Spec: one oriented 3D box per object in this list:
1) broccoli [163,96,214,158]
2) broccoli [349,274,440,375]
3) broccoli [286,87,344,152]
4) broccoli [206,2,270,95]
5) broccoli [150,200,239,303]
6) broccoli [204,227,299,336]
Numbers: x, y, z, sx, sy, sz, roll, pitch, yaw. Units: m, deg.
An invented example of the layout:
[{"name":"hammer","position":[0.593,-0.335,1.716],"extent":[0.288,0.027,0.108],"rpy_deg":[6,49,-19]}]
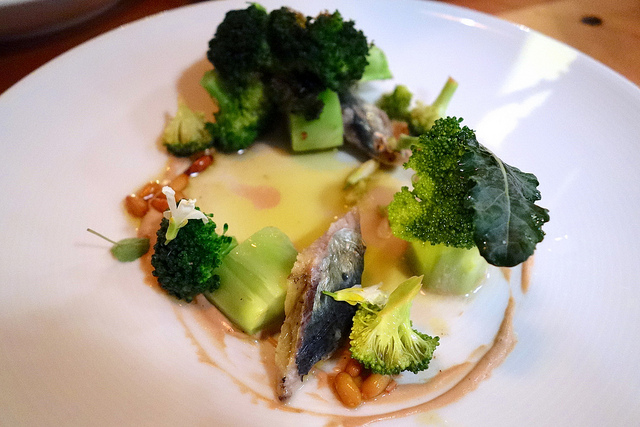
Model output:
[{"name":"broccoli","position":[-0.726,-0.444,2.993],"extent":[0.237,0.122,0.296],"rpy_deg":[-9,87,-11]},{"name":"broccoli","position":[0.332,0.527,2.561],"extent":[0.404,0.313,0.410],"rpy_deg":[-6,73,-4]},{"name":"broccoli","position":[-0.013,-0.472,3.026],"extent":[0.299,0.224,0.316],"rpy_deg":[12,84,-30]},{"name":"broccoli","position":[-0.396,-0.817,2.872],"extent":[0.130,0.406,0.350],"rpy_deg":[6,23,-34]},{"name":"broccoli","position":[-0.551,0.169,2.627],"extent":[0.436,0.213,0.393],"rpy_deg":[-40,115,-34]},{"name":"broccoli","position":[-0.281,0.311,2.702],"extent":[0.440,0.308,0.425],"rpy_deg":[34,53,30]}]
